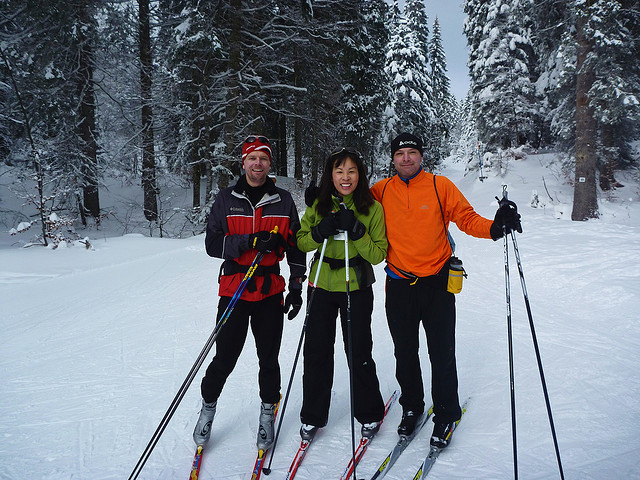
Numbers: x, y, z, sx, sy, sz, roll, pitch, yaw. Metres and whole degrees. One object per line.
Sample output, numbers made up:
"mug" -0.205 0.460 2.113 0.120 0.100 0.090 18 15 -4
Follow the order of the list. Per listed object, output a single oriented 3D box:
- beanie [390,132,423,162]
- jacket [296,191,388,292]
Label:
"beanie" 1.331 -1.423 8.652 0.370 0.345 0.399 0 2 12
"jacket" 0.339 0.064 8.862 1.396 1.632 1.090 3 -9 17
